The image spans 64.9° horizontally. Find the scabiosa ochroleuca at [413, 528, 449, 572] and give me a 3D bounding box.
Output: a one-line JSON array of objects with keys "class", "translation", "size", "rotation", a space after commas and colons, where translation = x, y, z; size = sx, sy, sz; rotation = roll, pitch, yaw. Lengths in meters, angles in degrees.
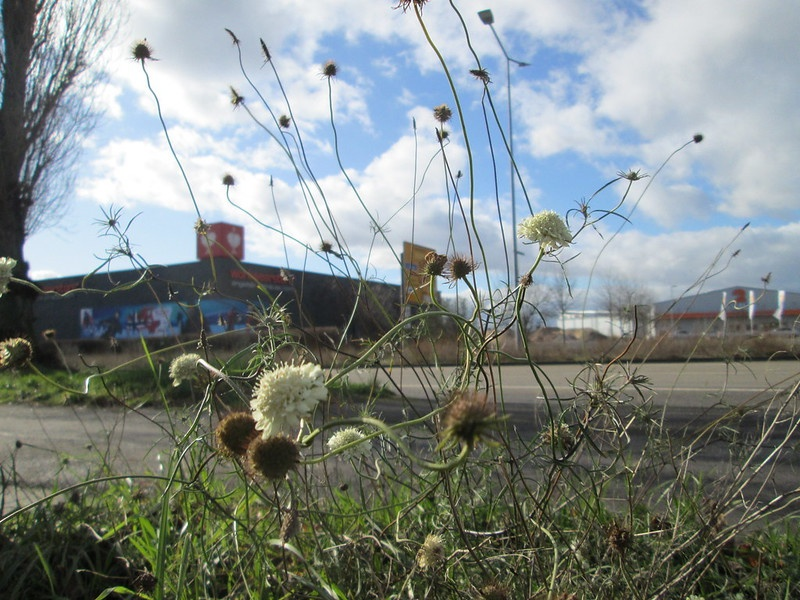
[{"class": "scabiosa ochroleuca", "translation": [0.155, 1.299, 3.253], "size": [0.144, 0.188, 0.272], "rotation": [-1, 2, 0]}]

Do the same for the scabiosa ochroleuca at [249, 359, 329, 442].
[{"class": "scabiosa ochroleuca", "translation": [-0.515, 0.469, 2.911], "size": [0.331, 0.328, 0.188], "rotation": [-1, 2, -18]}]

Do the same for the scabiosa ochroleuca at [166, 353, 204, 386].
[{"class": "scabiosa ochroleuca", "translation": [-1.310, 0.432, 3.829], "size": [0.173, 0.191, 0.383], "rotation": [-2, 2, -21]}]

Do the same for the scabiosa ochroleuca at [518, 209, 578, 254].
[{"class": "scabiosa ochroleuca", "translation": [0.811, -0.393, 3.529], "size": [0.276, 0.237, 0.219], "rotation": [0, 2, 13]}]
